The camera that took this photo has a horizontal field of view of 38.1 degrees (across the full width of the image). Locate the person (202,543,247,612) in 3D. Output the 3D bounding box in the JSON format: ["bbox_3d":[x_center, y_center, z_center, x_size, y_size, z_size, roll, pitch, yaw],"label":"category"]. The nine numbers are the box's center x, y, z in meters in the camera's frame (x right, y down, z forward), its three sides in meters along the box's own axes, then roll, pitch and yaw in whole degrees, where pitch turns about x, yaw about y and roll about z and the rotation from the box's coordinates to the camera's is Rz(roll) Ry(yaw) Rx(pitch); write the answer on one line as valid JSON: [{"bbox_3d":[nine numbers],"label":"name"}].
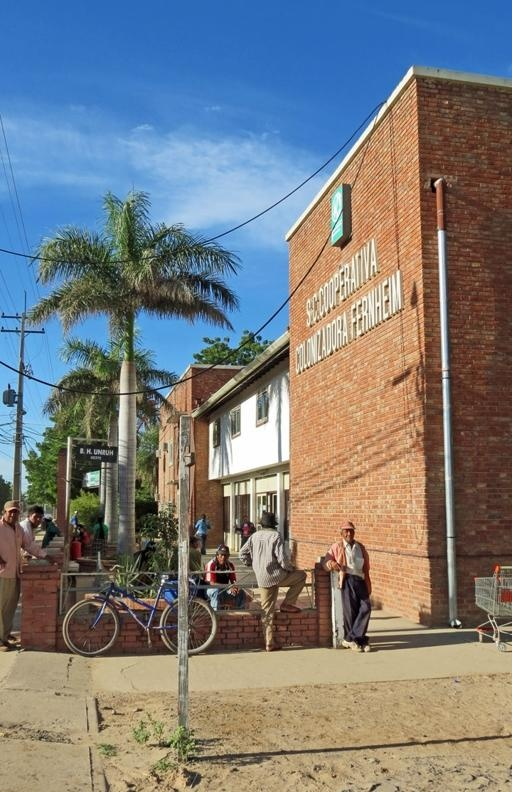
[{"bbox_3d":[-0.406,2.437,9.635,0.463,0.945,0.636,3,-13,-19],"label":"person"}]

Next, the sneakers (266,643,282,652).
[{"bbox_3d":[0.211,2.944,8.675,0.183,0.071,0.115,3,-7,-11],"label":"sneakers"}]

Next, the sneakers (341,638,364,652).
[{"bbox_3d":[1.128,2.922,8.684,0.089,0.126,0.246,17,-13,-26],"label":"sneakers"}]

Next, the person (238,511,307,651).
[{"bbox_3d":[0.205,2.238,9.052,0.781,1.564,0.781,1,-6,2],"label":"person"}]

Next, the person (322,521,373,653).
[{"bbox_3d":[1.088,2.261,8.862,0.558,1.467,0.506,1,-6,6],"label":"person"}]

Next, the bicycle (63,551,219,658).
[{"bbox_3d":[-1.429,2.445,8.832,2.328,1.474,1.014,3,-10,-7],"label":"bicycle"}]

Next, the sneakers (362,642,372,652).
[{"bbox_3d":[1.285,2.916,8.584,0.084,0.049,0.149,1,-9,1],"label":"sneakers"}]

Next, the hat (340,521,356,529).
[{"bbox_3d":[1.137,1.594,9.095,0.154,0.095,0.233,-1,-13,4],"label":"hat"}]

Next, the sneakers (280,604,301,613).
[{"bbox_3d":[0.421,2.587,9.030,0.260,0.126,0.099,1,-8,-2],"label":"sneakers"}]
